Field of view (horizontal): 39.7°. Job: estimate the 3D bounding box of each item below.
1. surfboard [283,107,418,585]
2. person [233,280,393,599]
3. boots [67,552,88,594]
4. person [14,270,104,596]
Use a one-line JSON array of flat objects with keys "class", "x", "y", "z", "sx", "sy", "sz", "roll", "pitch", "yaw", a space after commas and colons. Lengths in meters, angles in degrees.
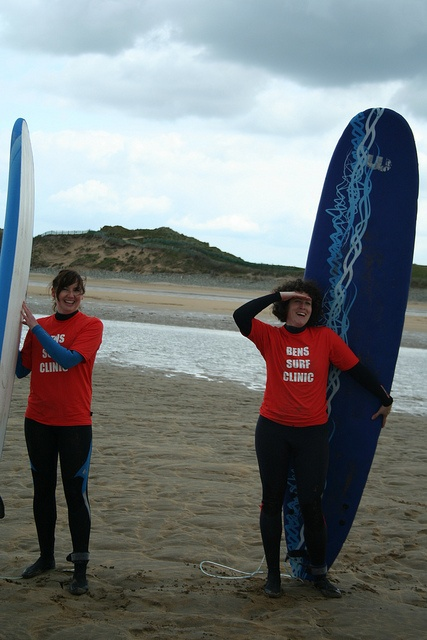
[{"class": "surfboard", "x": 0.724, "y": 0.019, "z": 3.327, "sx": 0.607, "sy": 2.689, "sz": 0.292, "roll": 18, "pitch": -7, "yaw": 0}, {"class": "person", "x": 0.426, "y": 0.549, "z": 2.836, "sx": 0.524, "sy": 1.474, "sz": 0.569, "roll": 10, "pitch": 7, "yaw": 44}, {"class": "boots", "x": -0.620, "y": 1.161, "z": 2.717, "sx": 0.098, "sy": 0.164, "sz": 0.183, "roll": 0, "pitch": 0, "yaw": -4}, {"class": "person", "x": -0.736, "y": 0.501, "z": 2.752, "sx": 0.360, "sy": 1.468, "sz": 0.433, "roll": 4, "pitch": 6, "yaw": -17}]
